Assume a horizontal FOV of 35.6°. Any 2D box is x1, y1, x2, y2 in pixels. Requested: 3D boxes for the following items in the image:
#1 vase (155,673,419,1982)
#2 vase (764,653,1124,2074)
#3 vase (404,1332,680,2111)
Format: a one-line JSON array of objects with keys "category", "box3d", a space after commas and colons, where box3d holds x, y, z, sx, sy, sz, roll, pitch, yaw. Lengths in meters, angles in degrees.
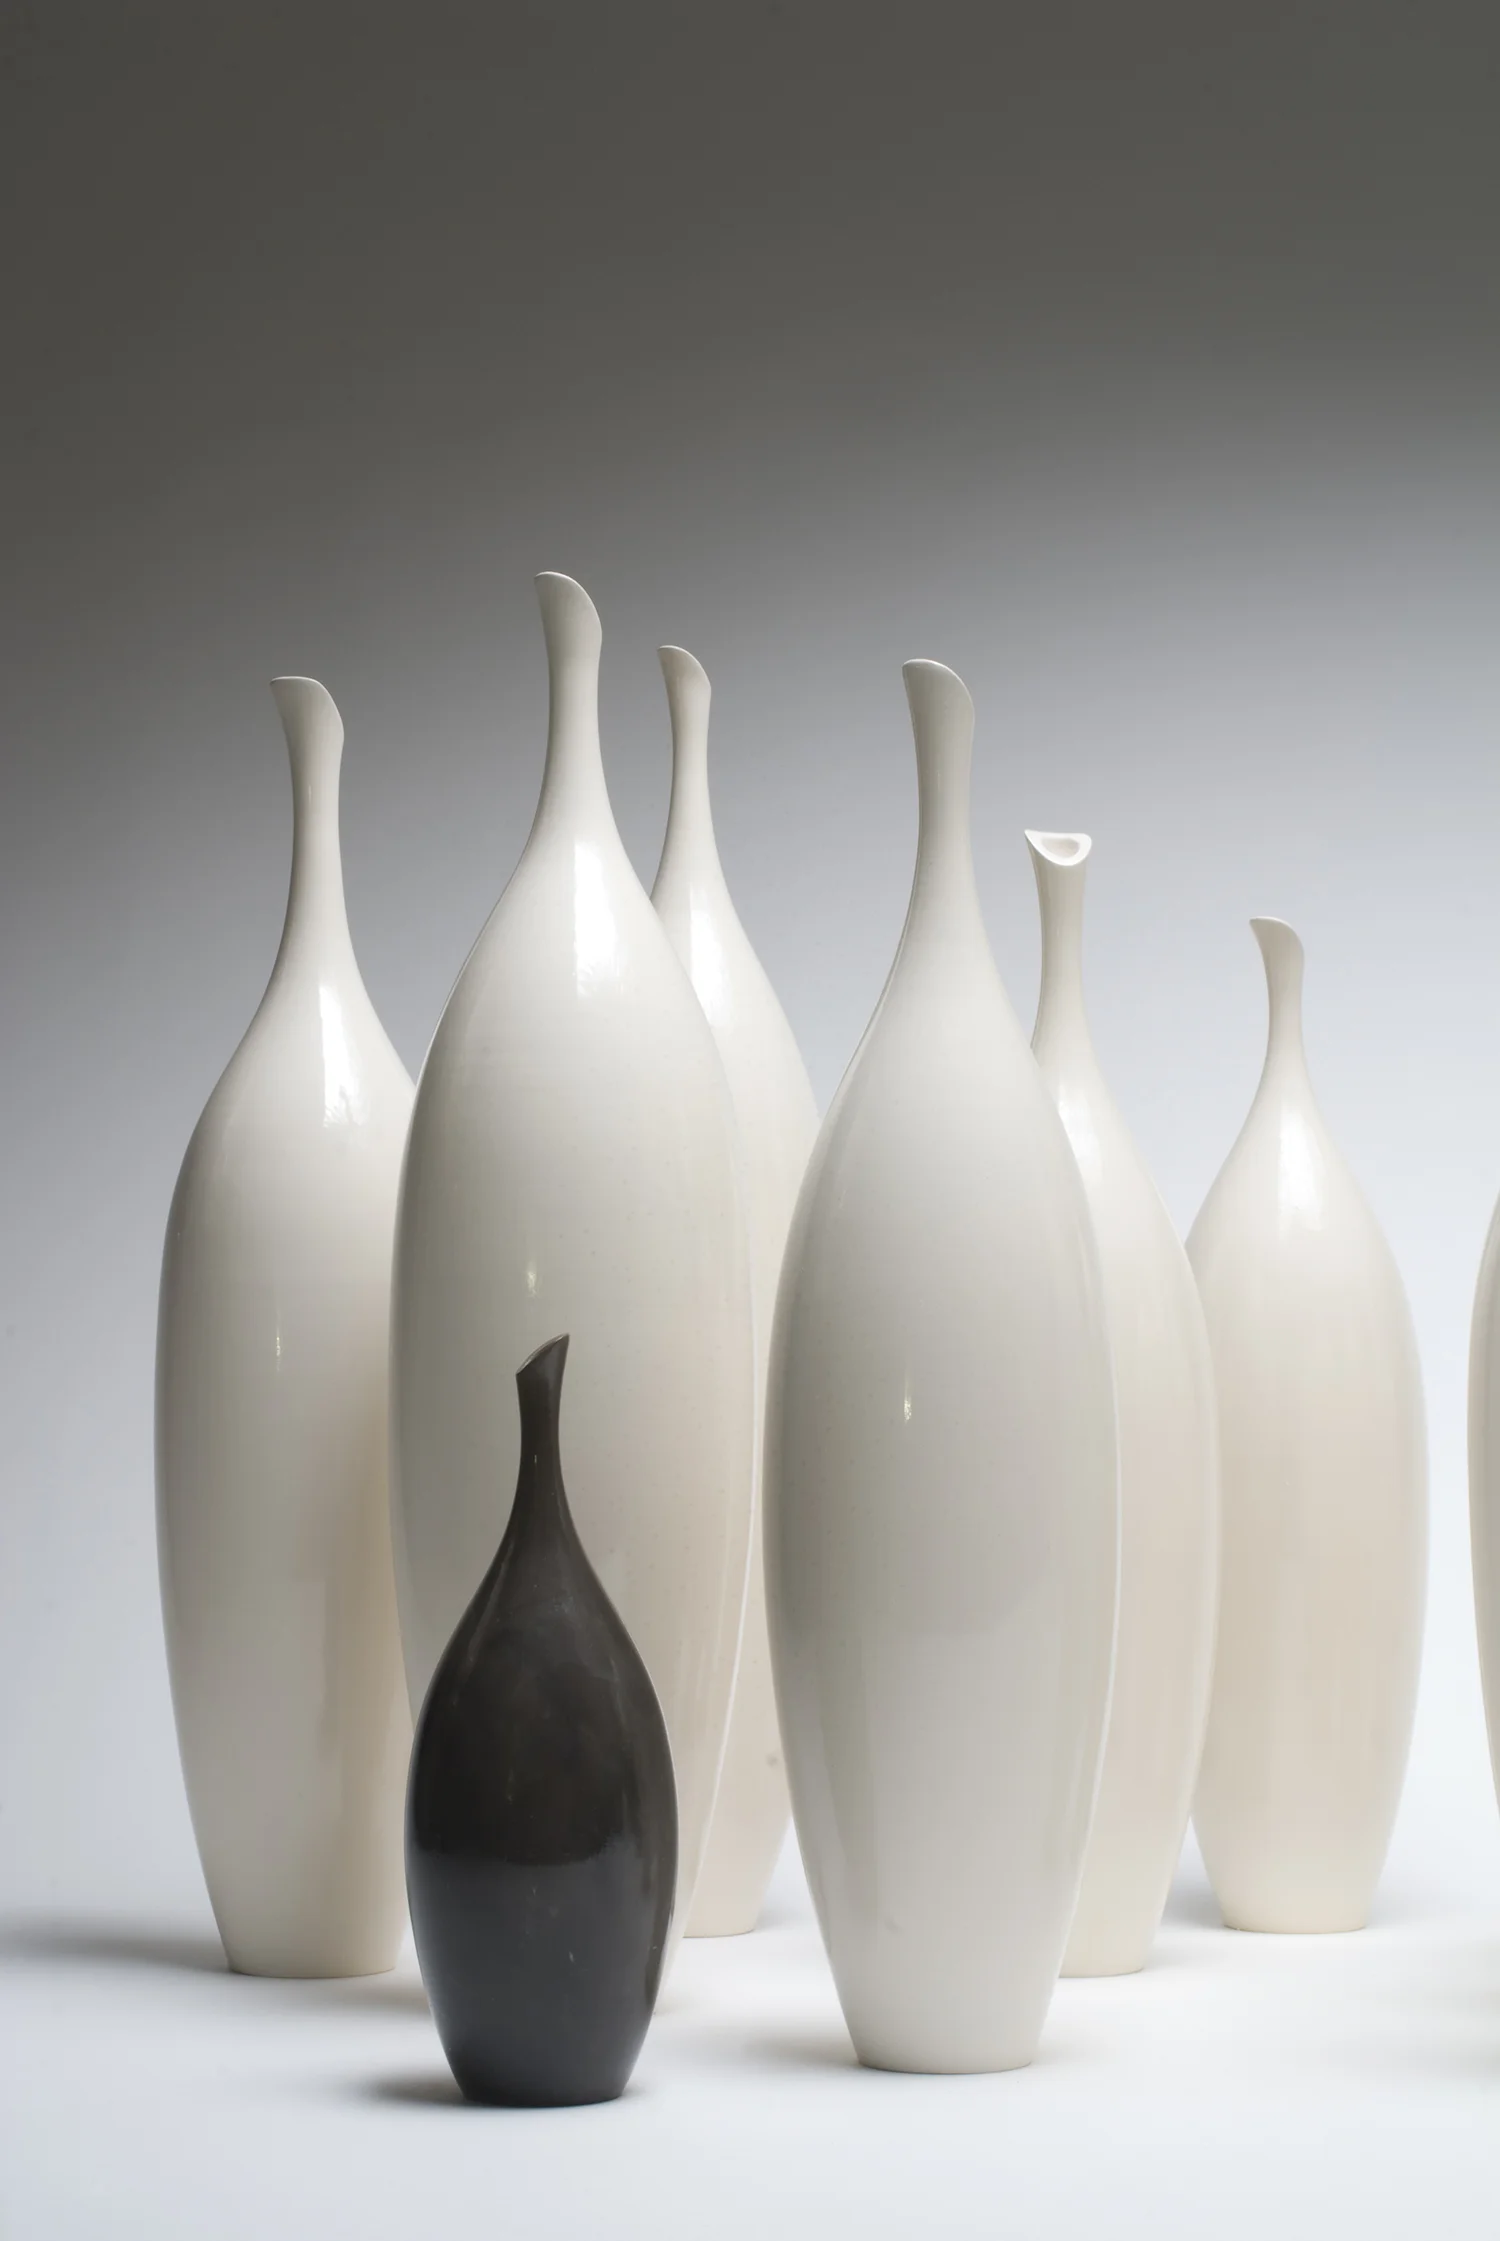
[{"category": "vase", "box3d": [-0.342, 0.149, 1.783, 0.211, 0.955, 0.359, -3, 9, -29]}, {"category": "vase", "box3d": [0.101, 0.139, 1.374, 0.182, 0.803, 0.253, -2, 8, -24]}, {"category": "vase", "box3d": [-0.115, 0.336, 1.273, 0.145, 0.410, 0.145, -6, 10, -41]}]
